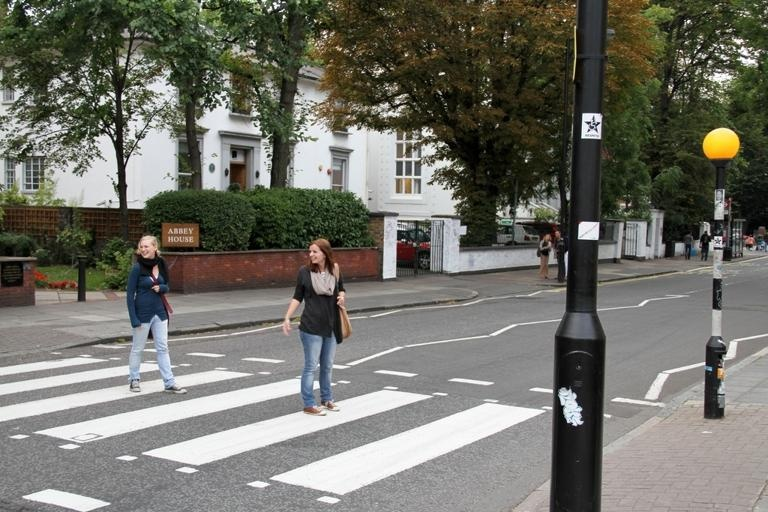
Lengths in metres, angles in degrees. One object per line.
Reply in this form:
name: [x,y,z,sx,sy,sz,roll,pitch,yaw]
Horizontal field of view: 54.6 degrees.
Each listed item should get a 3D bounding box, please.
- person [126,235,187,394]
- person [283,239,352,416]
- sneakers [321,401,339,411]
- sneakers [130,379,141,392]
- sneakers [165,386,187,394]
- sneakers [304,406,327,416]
person: [-3.803,0.948,12.184,0.775,2.490,0.853,-1,7,-19]
person: [-1.017,1.066,11.284,0.811,2.616,0.534,1,6,-1]
sneakers: [-0.836,2.324,11.482,0.261,0.104,0.119,-1,2,31]
sneakers: [-4.074,2.099,12.133,0.179,0.192,0.311,-1,6,-23]
sneakers: [-3.372,2.173,12.137,0.371,0.158,0.132,0,7,3]
sneakers: [-1.044,2.352,11.284,0.357,0.152,0.130,0,14,4]
